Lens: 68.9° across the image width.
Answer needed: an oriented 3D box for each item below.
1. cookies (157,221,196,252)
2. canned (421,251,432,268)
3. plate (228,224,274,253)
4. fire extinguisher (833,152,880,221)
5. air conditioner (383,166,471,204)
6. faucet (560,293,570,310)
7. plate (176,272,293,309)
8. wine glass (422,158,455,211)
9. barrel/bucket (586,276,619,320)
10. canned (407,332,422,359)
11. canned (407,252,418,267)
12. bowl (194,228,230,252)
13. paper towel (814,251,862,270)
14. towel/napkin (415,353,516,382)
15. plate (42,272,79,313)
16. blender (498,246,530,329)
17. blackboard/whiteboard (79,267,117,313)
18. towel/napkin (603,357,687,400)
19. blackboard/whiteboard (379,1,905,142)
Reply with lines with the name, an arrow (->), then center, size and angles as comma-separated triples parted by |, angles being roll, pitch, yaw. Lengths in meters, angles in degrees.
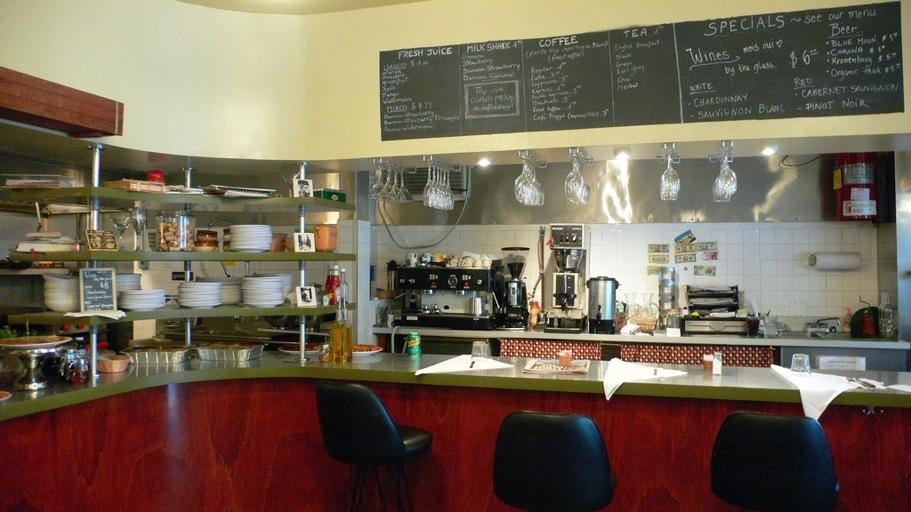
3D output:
cookies -> -2.488, -0.170, 5.993 | 0.299, 0.254, 0.279 | 1, -1, -9
canned -> -0.384, 0.058, 8.383 | 0.156, 0.099, 0.128 | -5, -8, 24
plate -> -1.863, -0.153, 6.000 | 0.305, 0.174, 0.288 | 1, 1, -3
fire extinguisher -> 4.631, -0.804, 7.705 | 0.449, 0.786, 0.264 | -1, 1, 29
air conditioner -> -0.404, -0.965, 8.959 | 1.187, 0.251, 0.616 | 1, -14, 6
faucet -> 1.301, 0.534, 7.915 | 0.176, 0.157, 0.071 | 5, 6, 16
plate -> -2.073, 0.307, 6.206 | 0.599, 0.390, 0.887 | 0, 0, 9
wine glass -> -0.168, -0.703, 6.483 | 0.244, 0.333, 0.494 | -2, 1, 1
barrel/bucket -> 1.741, 0.548, 8.020 | 0.402, 0.566, 0.387 | 1, 0, 0
canned -> -0.388, 0.828, 6.113 | 0.112, 0.160, 0.133 | -1, 1, 11
canned -> -0.543, 0.055, 8.414 | 0.104, 0.155, 0.169 | -7, -11, 39
bowl -> -2.300, -0.145, 6.257 | 0.315, 0.199, 0.305 | 2, 0, 0
paper towel -> 4.482, 0.052, 7.903 | 0.540, 0.207, 0.221 | 2, 2, 4
towel/napkin -> 0.085, 0.957, 5.819 | 0.819, 0.101, 0.489 | -1, 1, 5
plate -> -3.364, 0.318, 5.730 | 0.342, 0.283, 0.319 | 0, -3, 19
blender -> 0.755, 0.382, 8.411 | 0.338, 0.978, 0.699 | -2, 1, 4
blackboard/whiteboard -> -3.036, 0.288, 5.664 | 0.291, 0.366, 0.189 | -2, 1, -33
towel/napkin -> 1.573, 1.053, 5.610 | 0.743, 0.248, 0.572 | -1, 1, 3
blackboard/whiteboard -> 1.916, -1.665, 5.983 | 3.878, 0.967, 0.095 | -1, 1, 9
